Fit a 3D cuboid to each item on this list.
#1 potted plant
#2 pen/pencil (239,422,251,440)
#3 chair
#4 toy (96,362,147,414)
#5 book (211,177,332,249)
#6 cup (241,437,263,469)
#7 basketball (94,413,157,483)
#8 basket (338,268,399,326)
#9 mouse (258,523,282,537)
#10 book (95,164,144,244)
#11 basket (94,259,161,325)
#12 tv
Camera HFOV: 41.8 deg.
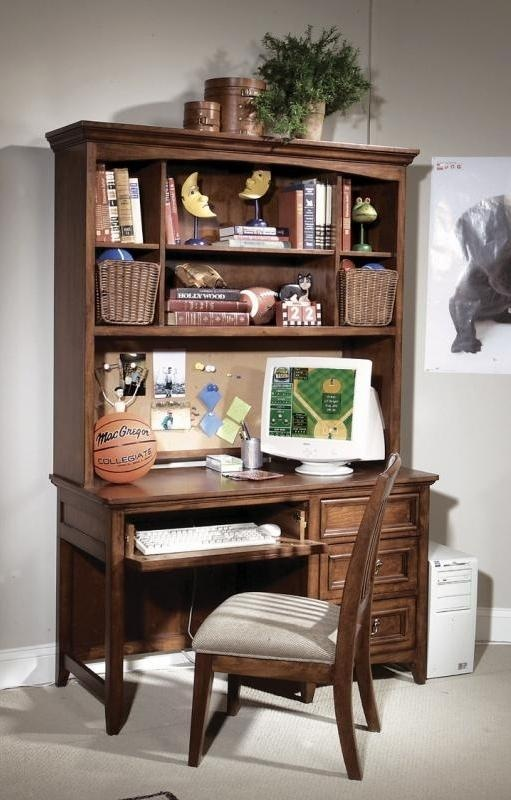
[{"bbox_3d":[0.172,-1.052,2.269,0.312,0.349,0.342,5,6,17],"label":"potted plant"},{"bbox_3d":[-0.034,0.123,2.332,0.025,0.105,0.020,-29,47,-16],"label":"pen/pencil"},{"bbox_3d":[0.097,0.524,1.685,0.492,0.693,0.452,-1,-4,26],"label":"chair"},{"bbox_3d":[-0.449,-0.044,2.202,0.154,0.198,0.041,2,9,2],"label":"toy"},{"bbox_3d":[0.085,-0.588,2.258,0.465,0.254,0.321,1,11,3],"label":"book"},{"bbox_3d":[-0.012,0.187,2.295,0.086,0.096,0.083,-1,5,0],"label":"cup"},{"bbox_3d":[-0.386,0.120,1.934,0.195,0.231,0.179,-1,1,-22],"label":"basketball"},{"bbox_3d":[0.385,-0.351,2.292,0.172,0.174,0.218,0,1,-3],"label":"basket"},{"bbox_3d":[0.044,0.379,1.932,0.044,0.022,0.064,2,1,-8],"label":"mouse"},{"bbox_3d":[-0.400,-0.560,1.966,0.148,0.227,0.071,3,-5,-23],"label":"book"},{"bbox_3d":[-0.366,-0.300,1.886,0.152,0.153,0.192,0,4,-10],"label":"basket"},{"bbox_3d":[0.193,0.025,2.294,0.369,0.413,0.220,2,20,0],"label":"tv"}]
